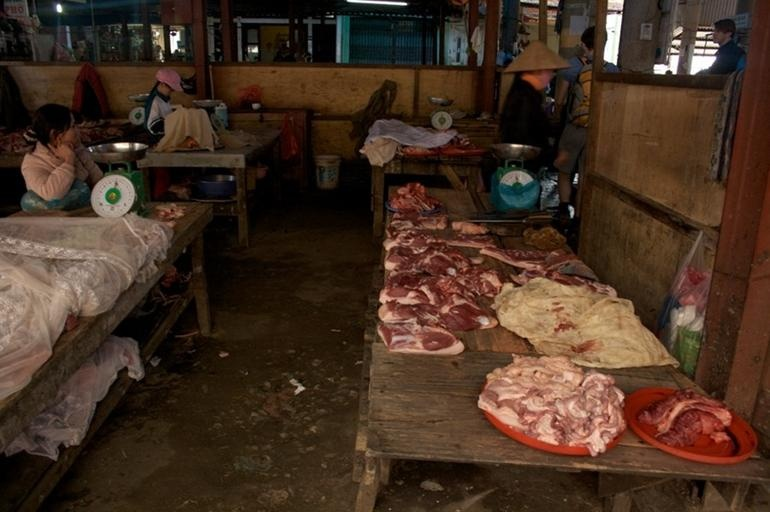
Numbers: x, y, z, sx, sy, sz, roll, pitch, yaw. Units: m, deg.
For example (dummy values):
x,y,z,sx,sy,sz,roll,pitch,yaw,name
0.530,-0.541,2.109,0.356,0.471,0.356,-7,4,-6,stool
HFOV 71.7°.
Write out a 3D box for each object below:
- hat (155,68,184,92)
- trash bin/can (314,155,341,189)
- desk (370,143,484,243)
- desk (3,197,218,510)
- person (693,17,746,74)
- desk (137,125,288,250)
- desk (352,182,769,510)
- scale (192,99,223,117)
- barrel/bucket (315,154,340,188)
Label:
x,y,z,sx,sy,sz,roll,pitch,yaw,name
-3.542,-2.907,8.795,0.333,0.355,0.618,-8,22,-15,hat
-1.083,-1.802,11.339,0.804,0.662,0.680,-1,21,-7,trash bin/can
0.635,-0.991,8.178,1.803,1.171,1.528,-1,14,-2,desk
-2.118,0.794,4.083,0.873,1.068,2.410,4,32,-4,desk
6.323,-3.879,9.786,0.558,0.949,1.155,11,25,26,person
-2.558,-1.010,7.831,1.591,1.118,2.527,5,24,7,desk
0.743,0.548,2.984,1.511,0.443,2.050,0,20,-1,desk
-3.155,-2.702,9.643,0.471,0.203,1.455,-6,21,-15,scale
-1.166,-1.817,11.426,0.792,0.649,0.671,-1,21,-6,barrel/bucket
